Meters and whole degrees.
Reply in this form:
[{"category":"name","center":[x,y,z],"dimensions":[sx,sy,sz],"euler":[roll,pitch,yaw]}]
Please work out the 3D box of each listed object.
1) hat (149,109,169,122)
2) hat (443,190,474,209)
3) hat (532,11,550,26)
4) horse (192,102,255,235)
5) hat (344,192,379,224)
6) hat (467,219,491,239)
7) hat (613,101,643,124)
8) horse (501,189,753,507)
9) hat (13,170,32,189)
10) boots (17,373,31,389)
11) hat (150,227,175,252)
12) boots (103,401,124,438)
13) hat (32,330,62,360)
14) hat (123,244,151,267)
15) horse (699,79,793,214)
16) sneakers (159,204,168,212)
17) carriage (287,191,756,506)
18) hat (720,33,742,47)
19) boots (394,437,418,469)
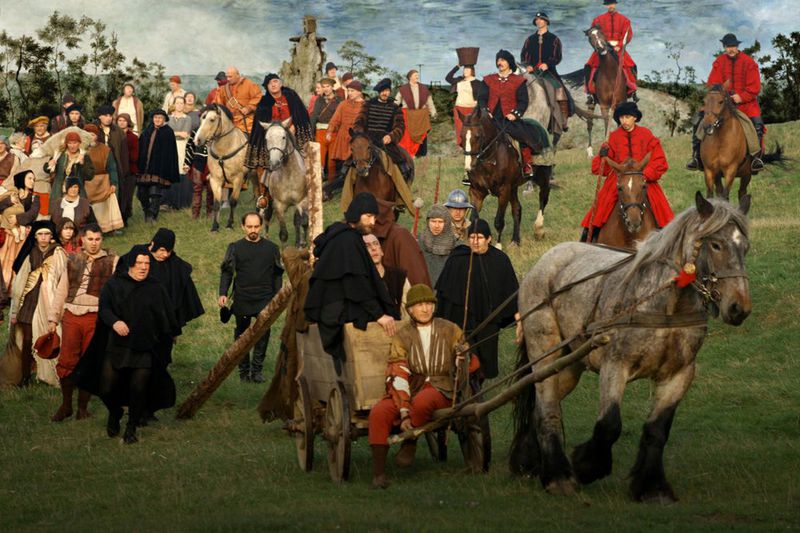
[{"category":"hat","center":[-6.958,-4.356,30.452],"dimensions":[0.366,0.346,0.422],"euler":[0,-5,-1]},{"category":"hat","center":[1.150,-1.305,20.567],"dimensions":[0.444,0.253,0.433],"euler":[0,2,-38]},{"category":"hat","center":[4.355,-7.712,32.771],"dimensions":[0.378,0.388,0.639],"euler":[-2,14,-1]},{"category":"horse","center":[-4.844,-2.795,30.321],"dimensions":[1.275,3.593,4.399],"euler":[1,2,9]},{"category":"hat","center":[-0.583,-0.962,17.094],"dimensions":[0.472,0.422,0.450],"euler":[-3,3,28]},{"category":"hat","center":[1.341,-0.725,18.104],"dimensions":[0.391,0.348,0.420],"euler":[6,-20,5]},{"category":"hat","center":[4.844,-3.308,22.666],"dimensions":[0.534,0.459,0.772],"euler":[1,14,11]},{"category":"horse","center":[3.401,1.290,16.505],"dimensions":[1.491,4.716,5.638],"euler":[5,-6,-27]},{"category":"hat","center":[-8.222,-1.916,23.092],"dimensions":[0.436,0.391,0.323],"euler":[-11,-5,35]},{"category":"boots","center":[-7.338,2.187,20.649],"dimensions":[0.198,0.266,0.228],"euler":[4,16,-22]},{"category":"hat","center":[-4.287,-0.504,19.223],"dimensions":[0.366,0.419,0.429],"euler":[21,-3,-31]},{"category":"boots","center":[-5.098,2.663,18.525],"dimensions":[0.222,0.669,0.474],"euler":[0,3,-2]},{"category":"hat","center":[-6.684,1.467,20.083],"dimensions":[0.342,0.561,0.307],"euler":[-5,42,-42]},{"category":"hat","center":[-4.632,-0.219,18.422],"dimensions":[0.348,0.235,0.440],"euler":[9,-22,-45]},{"category":"horse","center":[8.139,-3.030,25.978],"dimensions":[1.732,2.907,1.684],"euler":[2,14,16]},{"category":"sneakers","center":[-7.333,-1.844,32.913],"dimensions":[0.255,0.128,0.341],"euler":[0,-1,-8]},{"category":"carriage","center":[3.408,1.054,16.170],"dimensions":[3.503,4.525,2.351],"euler":[2,14,15]},{"category":"hat","center":[8.386,-5.764,26.884],"dimensions":[0.213,0.273,0.546],"euler":[-4,14,-7]},{"category":"boots","center":[0.107,2.982,16.706],"dimensions":[0.222,0.635,0.257],"euler":[13,33,-7]}]
